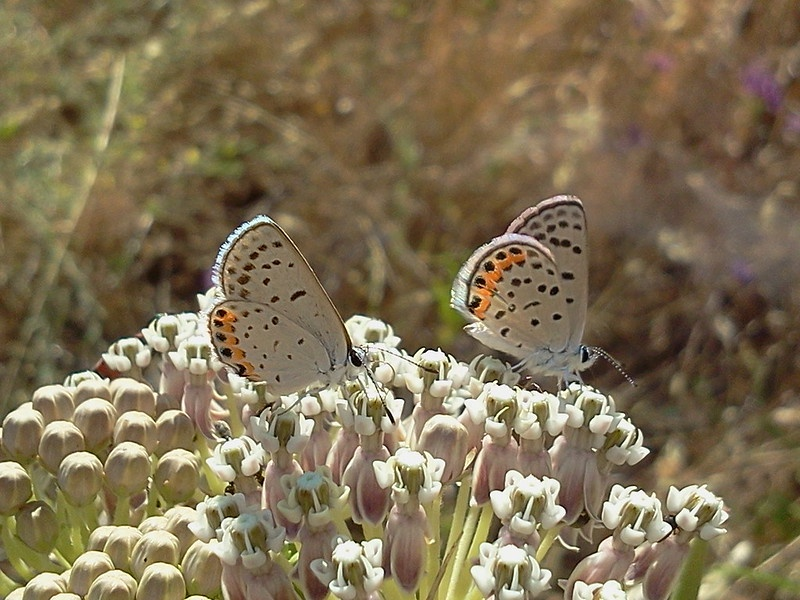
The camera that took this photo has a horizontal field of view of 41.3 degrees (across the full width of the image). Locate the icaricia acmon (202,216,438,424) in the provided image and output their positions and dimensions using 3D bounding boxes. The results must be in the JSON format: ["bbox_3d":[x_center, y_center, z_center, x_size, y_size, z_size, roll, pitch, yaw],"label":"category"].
[{"bbox_3d":[-0.217,0.036,2.782,0.509,0.433,0.522,5,-5,-4],"label":"icaricia acmon"}]
